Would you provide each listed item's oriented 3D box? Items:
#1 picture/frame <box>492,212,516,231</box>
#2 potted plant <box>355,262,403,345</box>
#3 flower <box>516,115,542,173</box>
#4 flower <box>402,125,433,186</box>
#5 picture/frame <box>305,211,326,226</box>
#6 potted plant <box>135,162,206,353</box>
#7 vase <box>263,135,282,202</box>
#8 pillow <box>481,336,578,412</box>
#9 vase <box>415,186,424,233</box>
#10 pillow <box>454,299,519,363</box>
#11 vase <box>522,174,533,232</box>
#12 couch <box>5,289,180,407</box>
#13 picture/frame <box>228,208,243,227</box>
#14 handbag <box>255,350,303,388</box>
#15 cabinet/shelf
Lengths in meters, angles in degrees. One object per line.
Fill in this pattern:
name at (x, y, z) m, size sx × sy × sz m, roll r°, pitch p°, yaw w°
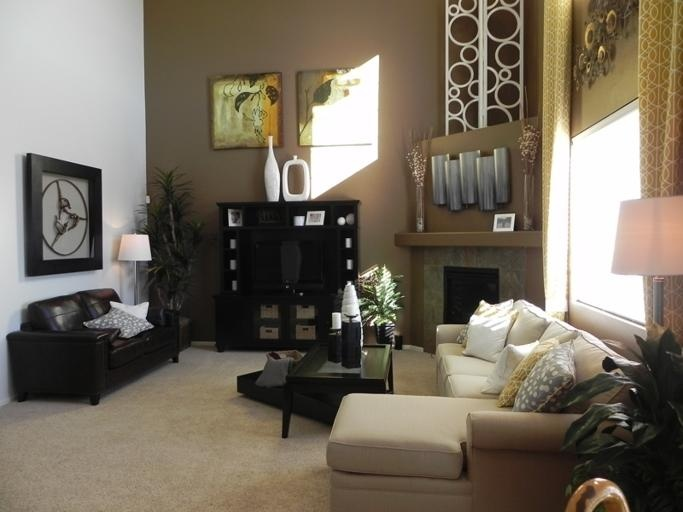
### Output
picture/frame at (1.931, -0.401, 6.375) m, size 0.231 × 0.240 × 0.017 m, roll 0°, pitch -19°, yaw 46°
potted plant at (0.572, 0.735, 7.081) m, size 0.433 × 0.762 × 0.457 m, roll 2°, pitch 1°, yaw 4°
flower at (2.113, -1.229, 6.070) m, size 0.195 × 0.519 × 0.083 m, roll -2°, pitch -17°, yaw 21°
flower at (1.019, -1.276, 7.272) m, size 0.457 × 0.916 × 0.358 m, roll 3°, pitch -27°, yaw 4°
picture/frame at (-0.361, -0.508, 7.362) m, size 0.201 × 0.212 × 0.015 m, roll 1°, pitch -16°, yaw 8°
potted plant at (-2.415, 0.149, 7.616) m, size 0.773 × 2.234 × 0.863 m, roll 6°, pitch 9°, yaw 10°
vase at (-0.958, -1.207, 7.432) m, size 0.236 × 0.896 × 0.508 m, roll -2°, pitch 10°, yaw -8°
pillow at (1.306, 0.773, 3.558) m, size 0.347 × 0.420 × 0.865 m, roll 0°, pitch 3°, yaw 7°
vase at (1.049, -0.623, 7.146) m, size 0.117 × 0.605 × 0.258 m, roll 0°, pitch 10°, yaw 6°
pillow at (1.381, 0.688, 5.040) m, size 0.149 × 0.523 × 0.506 m, roll 25°, pitch -18°, yaw -28°
vase at (2.125, -0.615, 6.136) m, size 0.119 × 0.628 × 0.279 m, roll 2°, pitch 10°, yaw 16°
couch at (-2.678, 0.593, 5.697) m, size 0.872 × 0.941 × 1.631 m, roll 0°, pitch 0°, yaw 10°
picture/frame at (-1.467, -0.550, 7.578) m, size 0.221 × 0.221 × 0.234 m, roll -11°, pitch 10°, yaw -3°
handbag at (-0.620, 1.082, 5.361) m, size 0.325 × 0.359 × 0.103 m, roll 7°, pitch 7°, yaw 13°
cabinet/shelf at (-0.668, 0.286, 7.086) m, size 1.781 × 2.050 × 0.574 m, roll -1°, pitch -4°, yaw 6°
